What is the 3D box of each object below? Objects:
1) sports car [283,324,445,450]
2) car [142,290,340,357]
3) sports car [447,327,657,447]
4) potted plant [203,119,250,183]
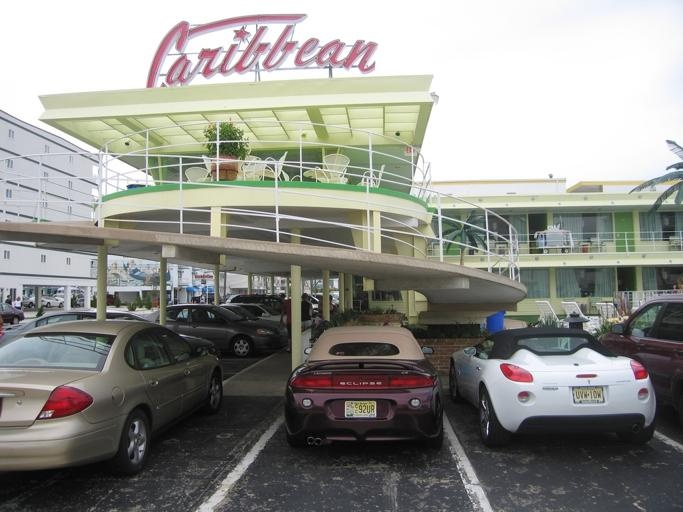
[{"bbox_3d":[0.453,1.723,9.528,2.426,1.255,3.766,-2,4,7],"label":"sports car"},{"bbox_3d":[-2.935,1.936,16.983,5.126,1.216,1.888,0,-1,5],"label":"car"},{"bbox_3d":[3.215,1.857,9.907,2.462,1.164,4.259,-2,1,-1],"label":"sports car"},{"bbox_3d":[-2.662,-2.530,14.025,1.205,1.308,1.040,0,8,-14],"label":"potted plant"}]
